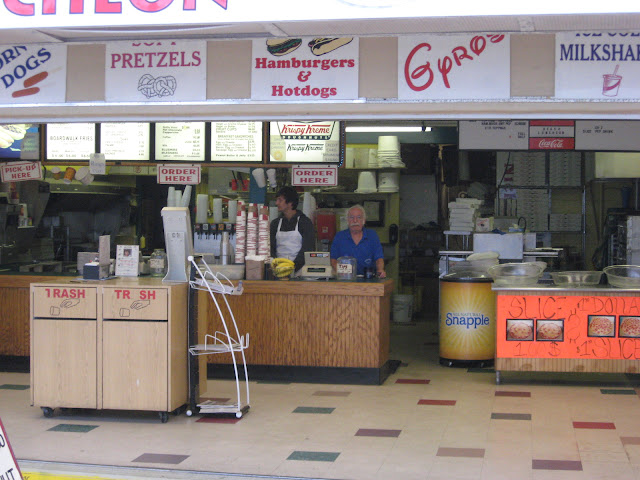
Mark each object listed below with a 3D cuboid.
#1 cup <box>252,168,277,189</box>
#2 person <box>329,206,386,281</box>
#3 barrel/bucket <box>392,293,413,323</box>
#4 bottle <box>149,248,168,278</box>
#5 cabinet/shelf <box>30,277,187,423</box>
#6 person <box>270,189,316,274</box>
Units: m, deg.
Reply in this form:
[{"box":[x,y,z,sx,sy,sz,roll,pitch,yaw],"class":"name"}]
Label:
[{"box":[-0.782,-0.878,9.841,0.320,0.262,0.300,0,4,0],"class":"cup"},{"box":[0.426,0.092,8.296,0.733,0.901,0.558,-1,7,-6],"class":"person"},{"box":[1.381,1.142,11.765,0.313,0.446,0.364,1,4,5],"class":"barrel/bucket"},{"box":[-1.589,0.232,6.911,0.158,0.236,0.517,-1,5,-13],"class":"bottle"},{"box":[-1.796,0.999,6.494,1.450,1.195,0.752,-1,-4,17],"class":"cabinet/shelf"},{"box":[-0.344,-0.139,8.563,0.574,1.002,0.438,1,4,11],"class":"person"}]
